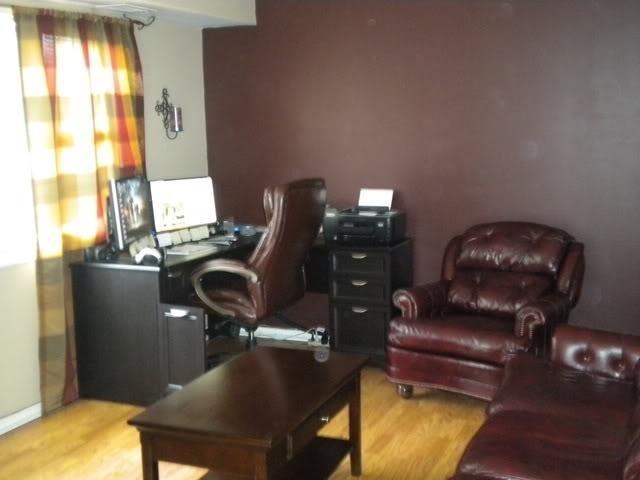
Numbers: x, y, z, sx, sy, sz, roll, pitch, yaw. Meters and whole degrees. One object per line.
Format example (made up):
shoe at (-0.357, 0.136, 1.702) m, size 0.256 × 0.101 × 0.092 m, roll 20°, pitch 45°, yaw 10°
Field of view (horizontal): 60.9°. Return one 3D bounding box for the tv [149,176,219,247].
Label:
tv at (-1.072, -0.284, 4.357) m, size 0.583 × 0.411 × 0.023 m, roll -6°, pitch 5°, yaw 19°

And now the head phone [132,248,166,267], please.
head phone at (-1.163, 0.121, 3.722) m, size 0.130 × 0.093 × 0.173 m, roll -2°, pitch 1°, yaw -42°

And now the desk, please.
desk at (-1.171, 0.579, 4.098) m, size 0.966 × 0.777 × 1.324 m, roll 2°, pitch 7°, yaw 15°

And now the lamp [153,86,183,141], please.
lamp at (-1.294, -1.112, 4.791) m, size 0.148 × 0.444 × 0.336 m, roll 1°, pitch 12°, yaw 15°

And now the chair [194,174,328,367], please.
chair at (-0.441, 0.080, 4.306) m, size 1.024 × 1.536 × 1.096 m, roll 6°, pitch 9°, yaw 26°

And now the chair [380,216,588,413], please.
chair at (1.226, 0.503, 3.928) m, size 1.107 × 1.181 × 1.303 m, roll 3°, pitch 9°, yaw 33°
